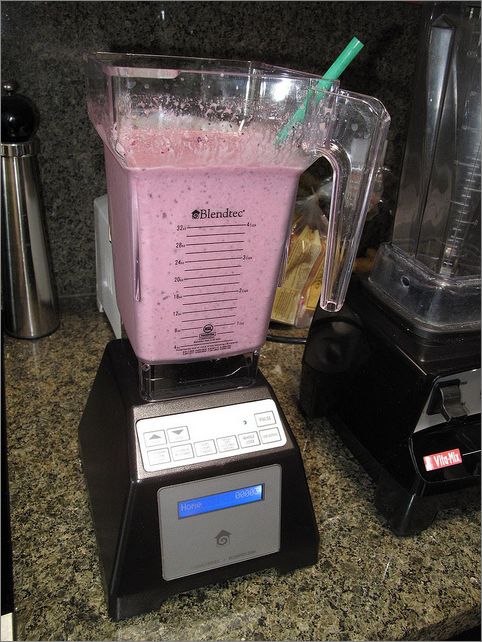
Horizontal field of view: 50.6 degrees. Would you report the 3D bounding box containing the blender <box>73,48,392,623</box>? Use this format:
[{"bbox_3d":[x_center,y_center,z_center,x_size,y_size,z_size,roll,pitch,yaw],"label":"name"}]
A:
[{"bbox_3d":[-0.041,-0.006,0.490,0.244,0.437,0.296,-8,33,-21],"label":"blender"}]
